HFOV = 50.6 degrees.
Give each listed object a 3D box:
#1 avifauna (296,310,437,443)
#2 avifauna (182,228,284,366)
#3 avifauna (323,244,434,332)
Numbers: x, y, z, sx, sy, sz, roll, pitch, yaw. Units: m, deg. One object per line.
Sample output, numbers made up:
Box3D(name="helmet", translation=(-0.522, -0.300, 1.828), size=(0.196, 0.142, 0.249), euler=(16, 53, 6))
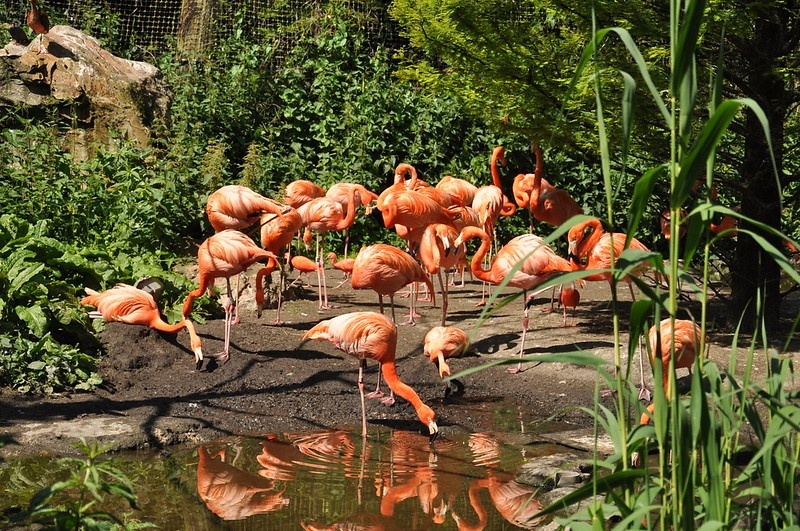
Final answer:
Box3D(name="avifauna", translation=(-0.246, 0.936, 7.262), size=(0.533, 1.003, 1.300), euler=(-5, 14, -41))
Box3D(name="avifauna", translation=(-1.716, 0.321, 8.455), size=(0.948, 1.268, 0.528), euler=(-4, -1, -15))
Box3D(name="avifauna", translation=(-0.311, 0.121, 8.836), size=(1.115, 0.920, 0.602), euler=(-8, 6, -10))
